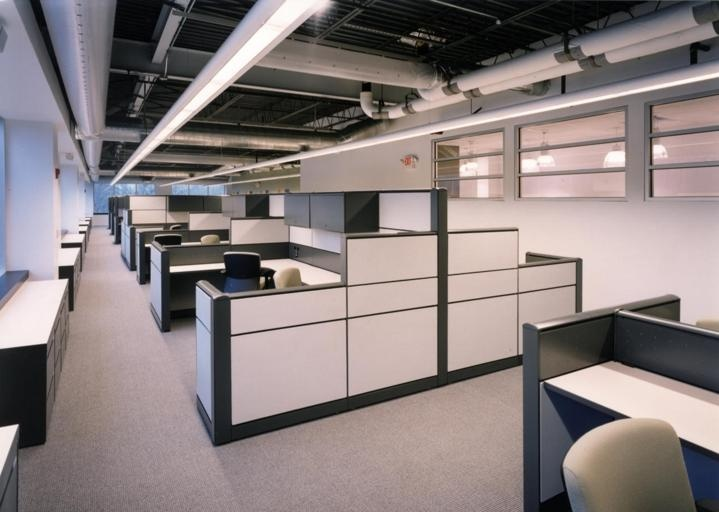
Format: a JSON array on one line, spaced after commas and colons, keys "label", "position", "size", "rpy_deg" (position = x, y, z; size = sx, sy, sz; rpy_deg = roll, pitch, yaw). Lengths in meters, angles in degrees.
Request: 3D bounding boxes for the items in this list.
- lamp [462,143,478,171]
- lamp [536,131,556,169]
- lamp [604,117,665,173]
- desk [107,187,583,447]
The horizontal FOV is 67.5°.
[{"label": "lamp", "position": [1.794, -1.609, 8.808], "size": [0.102, 0.508, 0.416], "rpy_deg": [-6, 9, -33]}, {"label": "lamp", "position": [2.647, -1.515, 7.618], "size": [0.077, 0.520, 0.266], "rpy_deg": [-4, 8, -24]}, {"label": "lamp", "position": [3.402, -1.374, 6.579], "size": [0.720, 0.305, 0.745], "rpy_deg": [0, -2, -37]}, {"label": "desk", "position": [-1.218, 0.191, 7.061], "size": [3.530, 2.099, 6.057], "rpy_deg": [-8, 10, -41]}]
